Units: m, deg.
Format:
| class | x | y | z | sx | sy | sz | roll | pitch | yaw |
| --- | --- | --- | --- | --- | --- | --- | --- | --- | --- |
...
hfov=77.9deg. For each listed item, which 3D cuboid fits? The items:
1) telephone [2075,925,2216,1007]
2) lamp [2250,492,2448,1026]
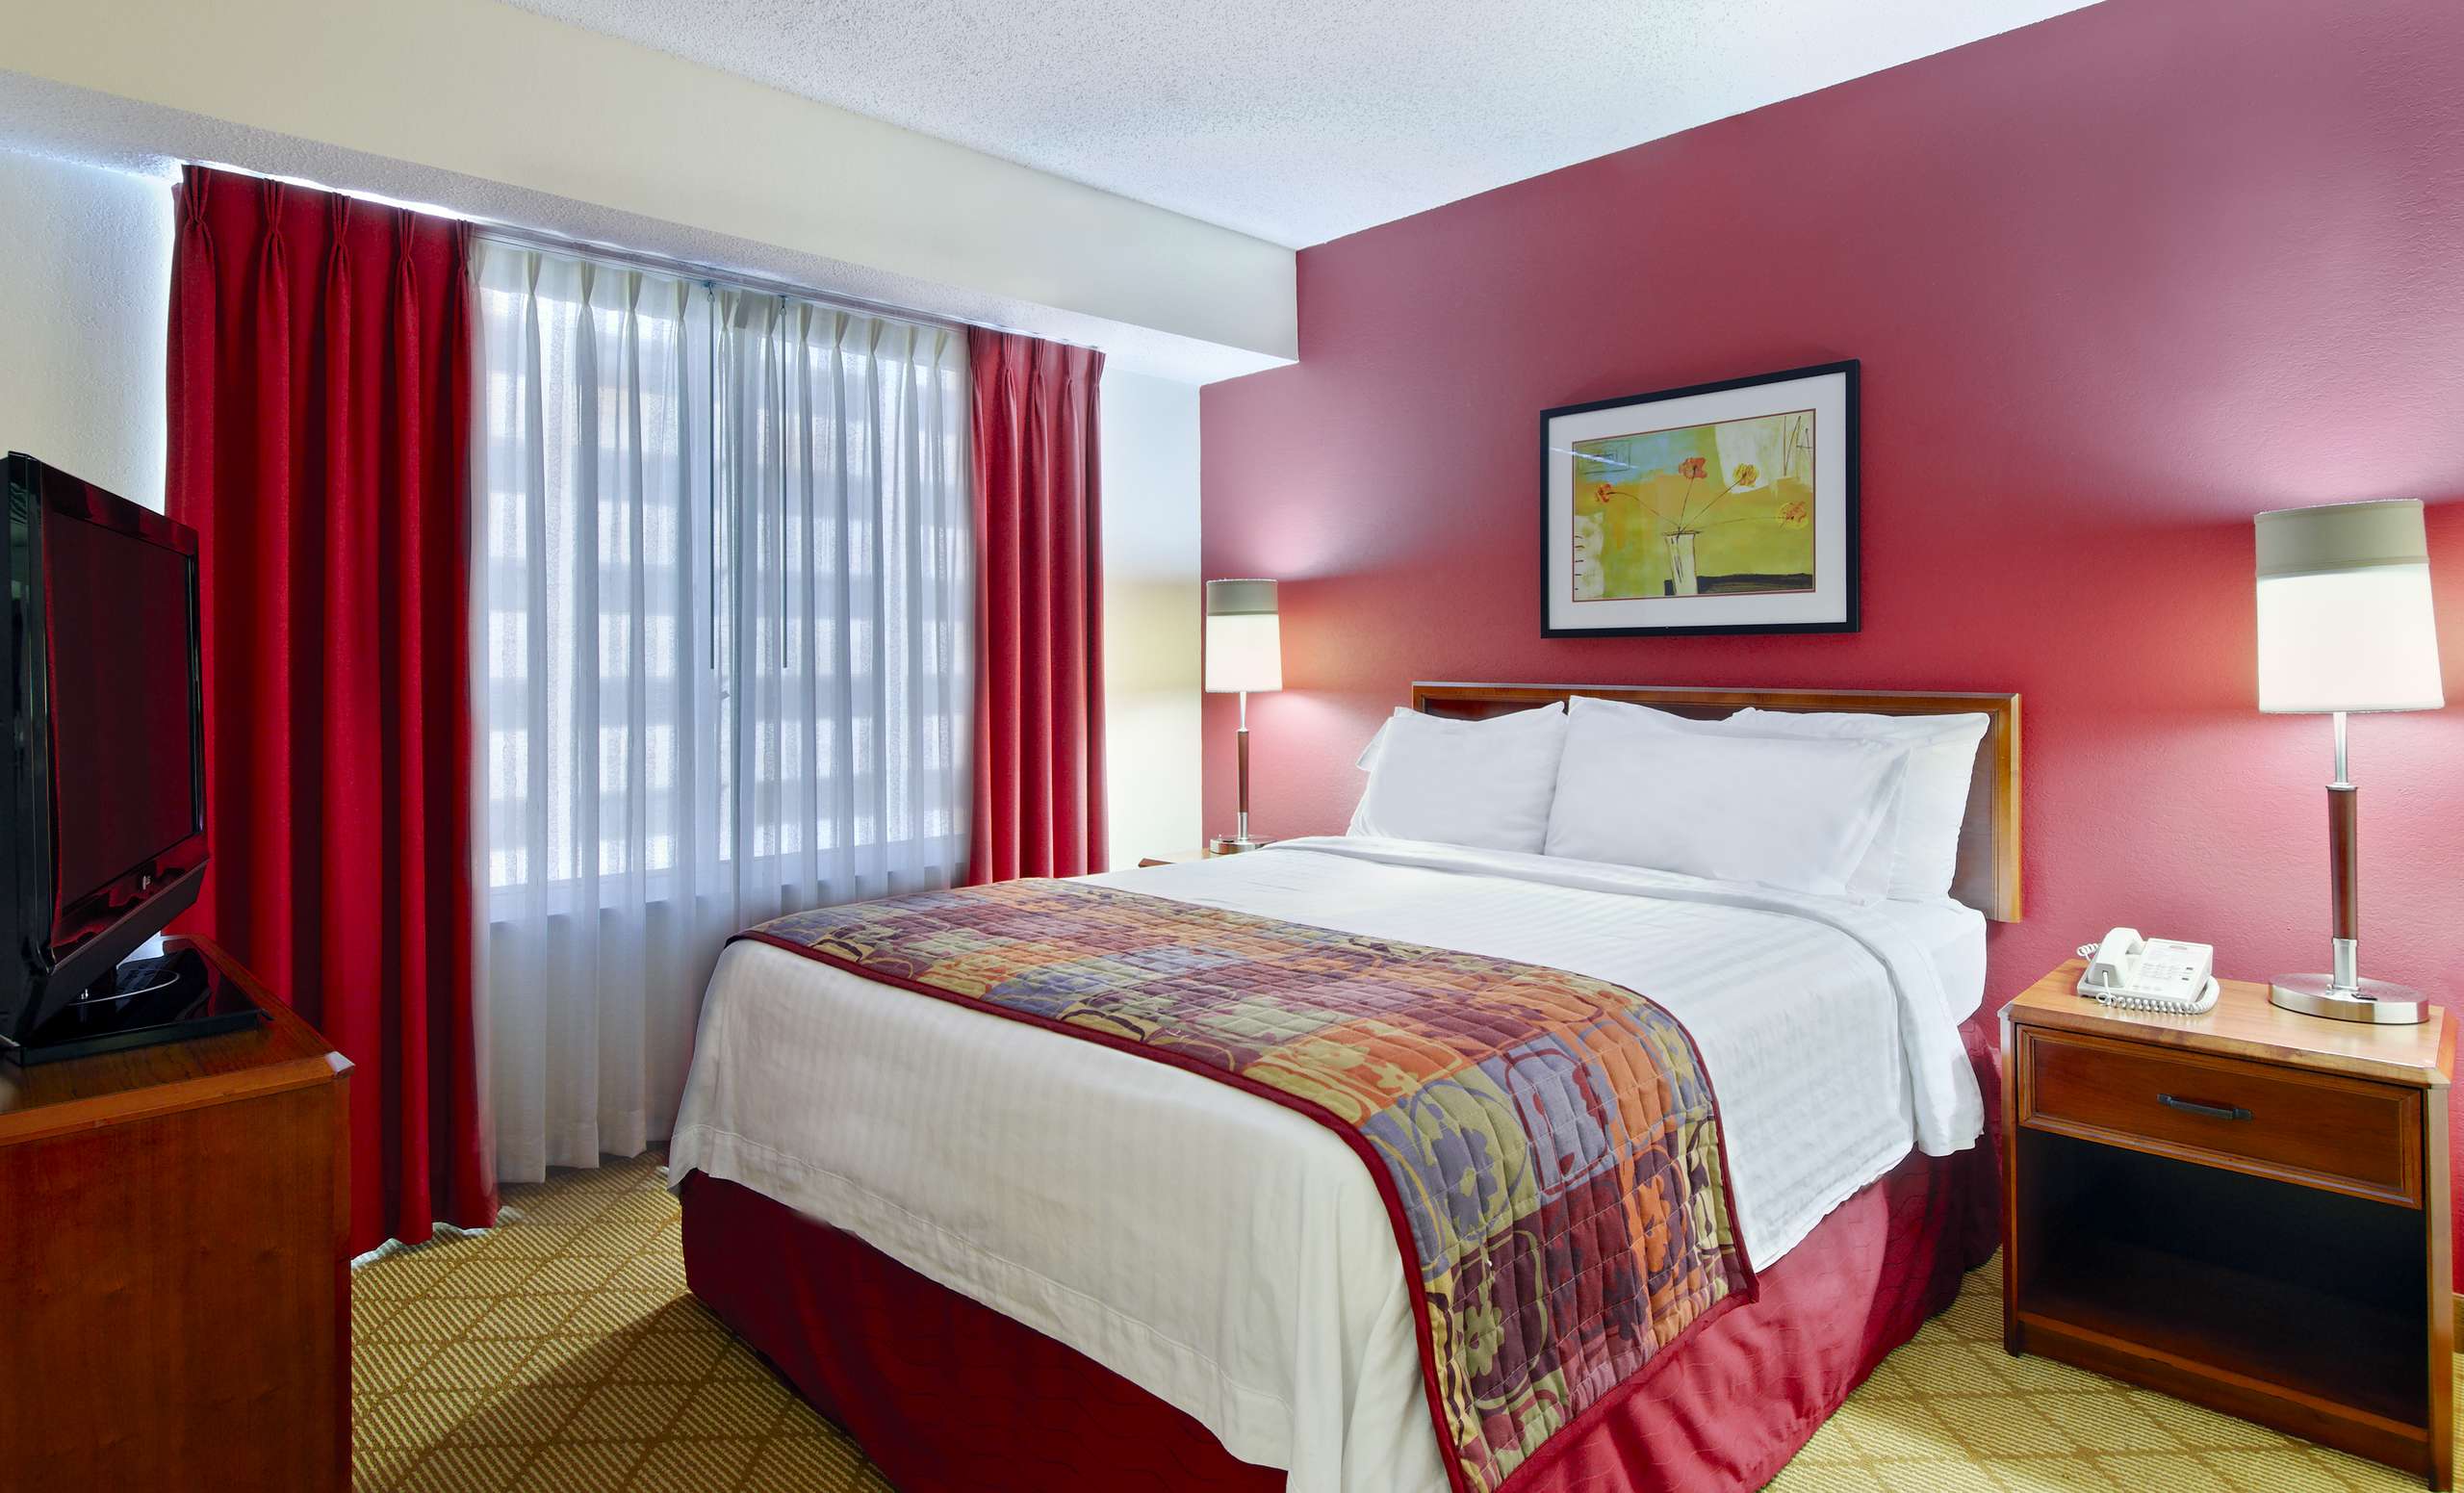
| class | x | y | z | sx | sy | sz | roll | pitch | yaw |
| --- | --- | --- | --- | --- | --- | --- | --- | --- | --- |
| telephone | 2.568 | 0.591 | 4.312 | 0.269 | 0.085 | 0.273 | 0 | 16 | 46 |
| lamp | 3.140 | 0.025 | 4.315 | 0.450 | 1.436 | 0.460 | 3 | 4 | 32 |
